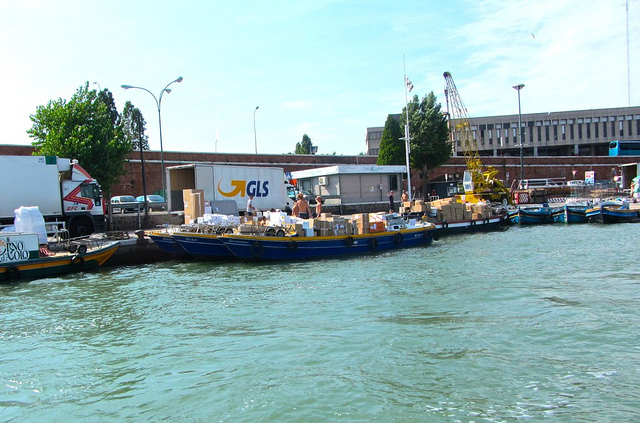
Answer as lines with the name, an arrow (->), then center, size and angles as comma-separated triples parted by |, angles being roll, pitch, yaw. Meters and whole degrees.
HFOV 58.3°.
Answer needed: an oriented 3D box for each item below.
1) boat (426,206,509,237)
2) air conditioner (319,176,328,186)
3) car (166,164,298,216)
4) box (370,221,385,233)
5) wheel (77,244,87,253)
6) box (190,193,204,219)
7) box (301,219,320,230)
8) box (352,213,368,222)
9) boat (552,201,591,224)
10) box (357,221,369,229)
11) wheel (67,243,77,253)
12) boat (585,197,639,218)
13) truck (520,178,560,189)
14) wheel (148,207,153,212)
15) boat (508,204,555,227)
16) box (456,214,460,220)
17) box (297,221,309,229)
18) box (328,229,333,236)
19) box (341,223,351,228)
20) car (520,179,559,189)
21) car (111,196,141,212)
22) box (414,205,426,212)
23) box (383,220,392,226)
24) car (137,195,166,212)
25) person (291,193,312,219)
boat -> 10.106, 0.716, 36.558 | 7.755, 1.426, 2.229 | -8, 9, -33
air conditioner -> 0.282, -2.446, 46.225 | 0.513, 0.877, 1.024 | -1, 1, -29
car -> -5.243, -0.766, 34.381 | 3.036, 3.732, 7.678 | -6, -2, 37
box -> 2.746, 0.705, 27.630 | 0.816, 0.566, 0.461 | -1, -2, -40
wheel -> -10.067, 1.533, 24.286 | 0.118, 0.338, 0.330 | 5, -1, 40
box -> -5.838, -0.304, 27.408 | 0.687, 1.190, 0.766 | -4, 0, -30
box -> -0.291, 0.502, 25.743 | 0.722, 0.477, 0.395 | 0, 6, -1
box -> 1.925, 0.247, 27.360 | 0.614, 0.342, 0.395 | 5, -7, -4
boat -> 18.182, 0.104, 41.503 | 1.496, 0.976, 2.599 | 2, 7, 30
box -> 2.051, 0.598, 27.156 | 0.350, 0.363, 0.371 | -4, -3, 42
wheel -> -10.518, 1.500, 24.435 | 0.384, 0.399, 0.152 | 7, 0, 0
boat -> 21.051, -0.353, 41.214 | 2.208, 1.286, 5.279 | -2, -5, 42
truck -> 23.137, -3.013, 61.084 | 3.680, 0.870, 2.036 | 1, -1, -7
wheel -> -12.617, -0.230, 42.888 | 0.278, 0.399, 0.393 | 1, 5, 2
boat -> 15.373, 0.248, 41.580 | 2.421, 0.903, 1.492 | 1, -3, -16
box -> 8.380, 0.297, 35.182 | 0.141, 0.274, 0.263 | 16, -18, -18
box -> -0.694, 0.539, 25.579 | 0.277, 0.358, 0.519 | 0, -1, 4
box -> 0.477, 0.951, 26.187 | 0.199, 0.233, 0.202 | -1, 1, 22
box -> 1.277, 0.610, 26.652 | 0.283, 0.195, 0.156 | 1, -4, -9
car -> 22.968, -2.984, 60.784 | 3.441, 0.713, 1.944 | 1, 1, -1
car -> -13.950, -0.538, 41.265 | 1.970, 0.908, 1.161 | 0, 1, 34
box -> 5.870, -0.221, 33.962 | 0.587, 0.407, 0.336 | -2, -7, 19
box -> 3.324, 0.533, 28.240 | 0.413, 0.297, 0.225 | 1, -7, -21
car -> -12.533, -0.698, 43.612 | 1.365, 0.998, 2.997 | -3, 7, -27
person -> -0.885, -0.306, 26.772 | 0.810, 1.171, 3.037 | -4, 0, -3
